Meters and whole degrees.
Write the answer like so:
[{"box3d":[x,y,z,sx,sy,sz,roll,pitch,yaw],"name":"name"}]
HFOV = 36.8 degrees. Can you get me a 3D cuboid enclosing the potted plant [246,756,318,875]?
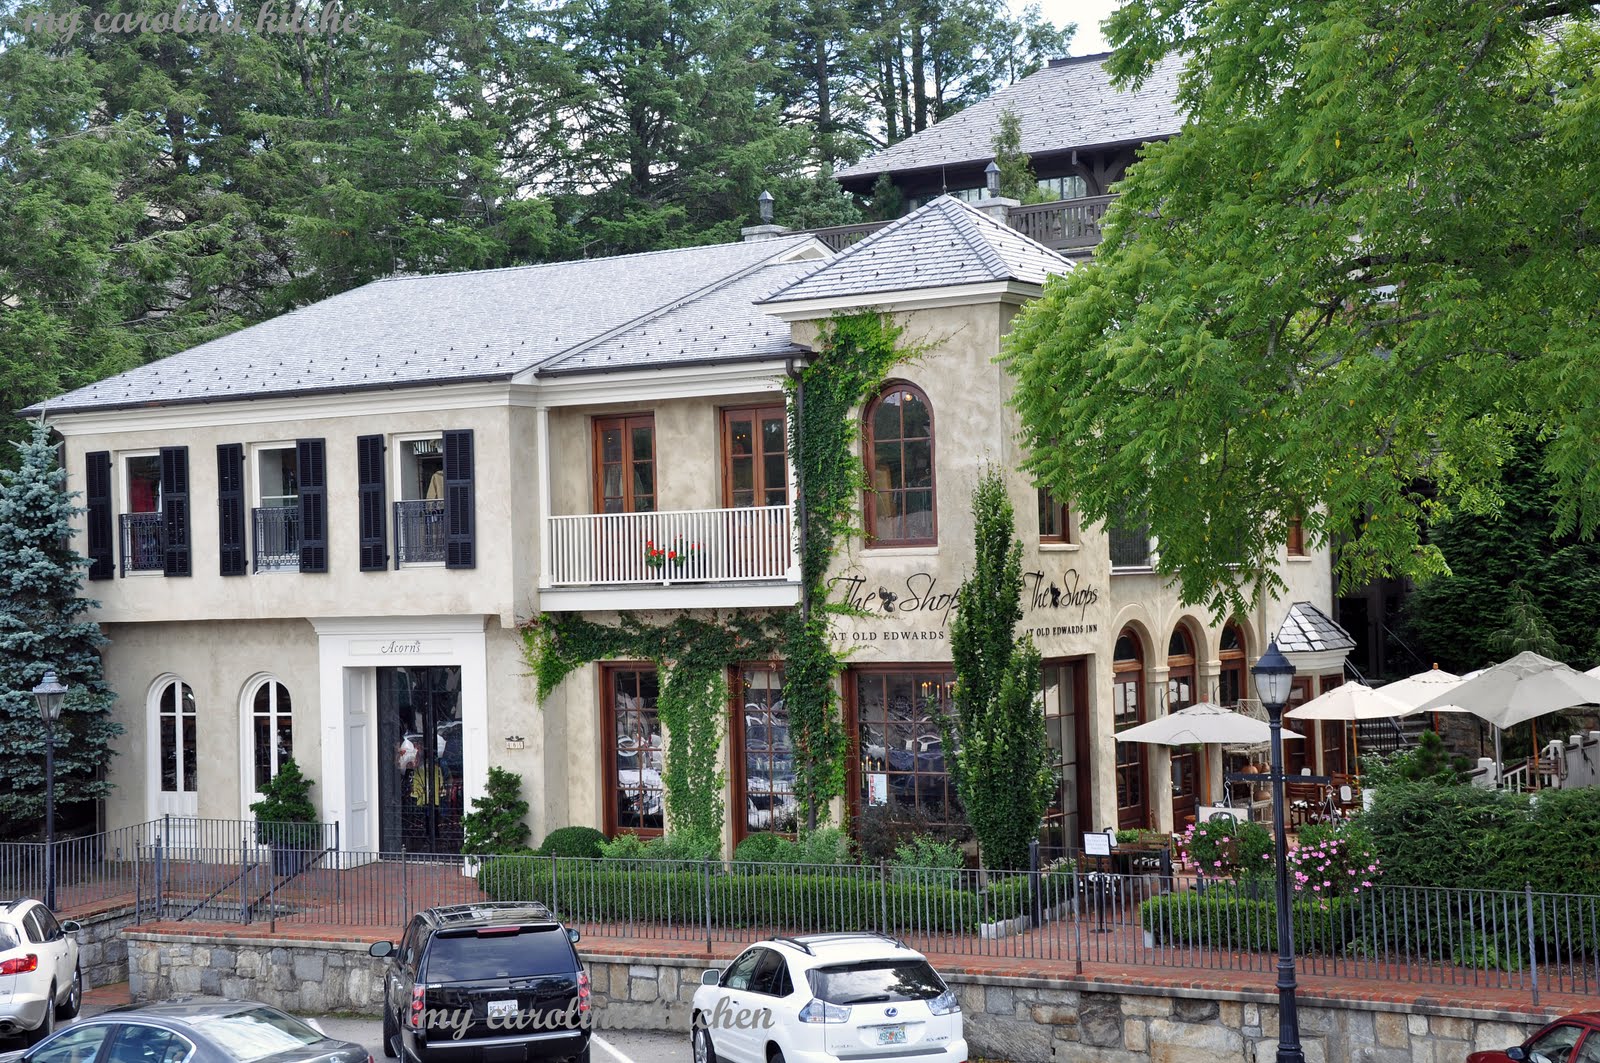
[{"box3d":[-11.309,6.255,53.042,1.473,2.549,1.502,-1,-18,-17],"name":"potted plant"}]
